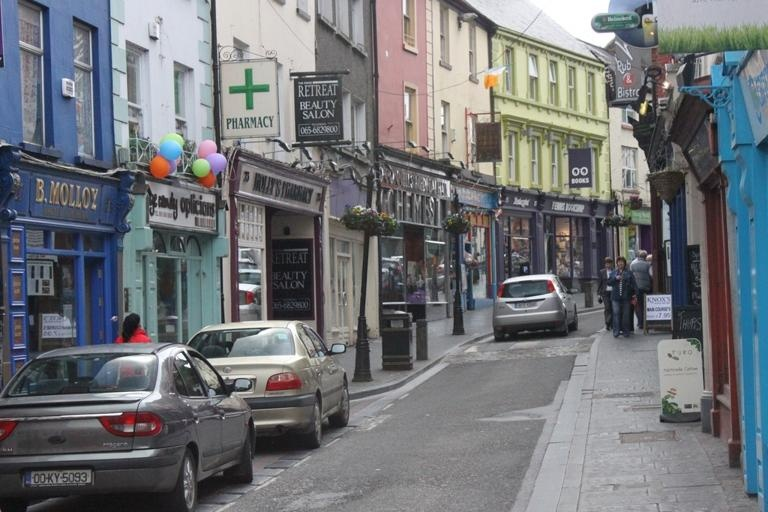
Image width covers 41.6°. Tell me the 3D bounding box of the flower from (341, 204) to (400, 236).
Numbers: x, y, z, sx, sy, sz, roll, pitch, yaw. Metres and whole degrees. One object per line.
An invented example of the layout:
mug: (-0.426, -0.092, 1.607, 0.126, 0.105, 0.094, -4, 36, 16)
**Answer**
flower: (-0.474, -0.988, 28.564, 1.069, 0.744, 1.316, 5, -6, 5)

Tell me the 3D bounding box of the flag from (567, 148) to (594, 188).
flag: (9.526, -4.300, 49.175, 1.116, 1.904, 0.695, -3, 3, 16)

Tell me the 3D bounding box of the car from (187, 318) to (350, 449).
car: (-1.981, 2.175, 17.556, 2.158, 2.072, 5.768, -3, -3, 3)

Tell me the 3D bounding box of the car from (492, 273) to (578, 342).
car: (4.720, 1.539, 31.259, 2.203, 2.093, 4.327, -5, -1, 16)

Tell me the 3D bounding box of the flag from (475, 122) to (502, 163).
flag: (4.435, -4.872, 42.927, 1.115, 1.837, 0.159, -1, 29, 7)

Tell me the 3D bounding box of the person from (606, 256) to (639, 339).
person: (6.478, 1.156, 27.609, 0.697, 2.237, 0.764, 0, -1, 18)

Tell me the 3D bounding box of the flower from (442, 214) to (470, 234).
flower: (2.609, -1.131, 36.426, 0.875, 0.668, 1.050, -3, 4, 37)
